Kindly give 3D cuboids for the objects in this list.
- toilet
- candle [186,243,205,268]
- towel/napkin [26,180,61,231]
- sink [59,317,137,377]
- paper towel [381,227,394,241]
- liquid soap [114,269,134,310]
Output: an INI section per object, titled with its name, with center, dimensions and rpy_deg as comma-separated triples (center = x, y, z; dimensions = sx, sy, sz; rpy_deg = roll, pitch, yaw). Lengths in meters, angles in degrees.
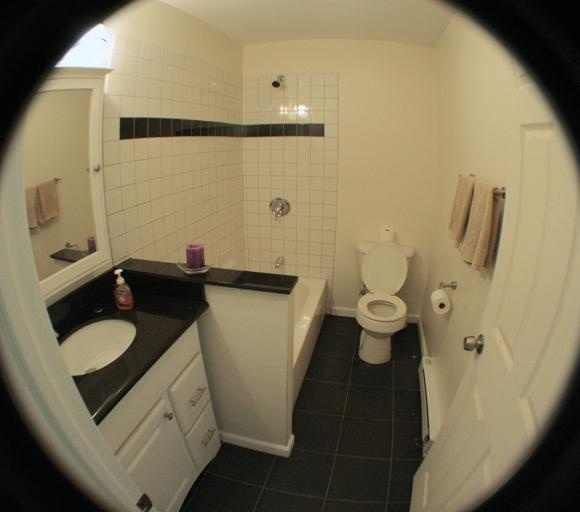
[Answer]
[toilet]
center = 0.559, 0.263, 2.762
dimensions = 0.262, 0.658, 0.575
rpy_deg = 5, 21, 7
[candle]
center = -0.373, -0.005, 1.836
dimensions = 0.068, 0.100, 0.078
rpy_deg = 1, 11, 6
[towel/napkin]
center = -0.810, -0.166, 1.477
dimensions = 0.029, 0.119, 0.158
rpy_deg = 8, 23, 11
[sink]
center = -0.667, 0.305, 1.602
dimensions = 0.245, 0.116, 0.203
rpy_deg = -10, 23, -22
[paper towel]
center = 0.621, -0.130, 2.871
dimensions = 0.048, 0.103, 0.087
rpy_deg = 5, 2, 11
[liquid soap]
center = -0.661, 0.107, 1.786
dimensions = 0.067, 0.156, 0.173
rpy_deg = -8, 21, -20
